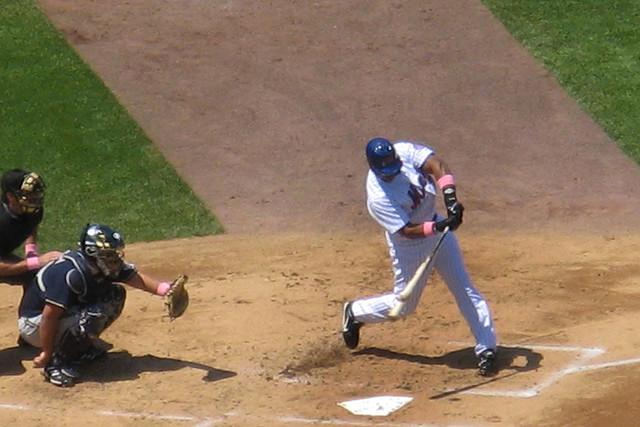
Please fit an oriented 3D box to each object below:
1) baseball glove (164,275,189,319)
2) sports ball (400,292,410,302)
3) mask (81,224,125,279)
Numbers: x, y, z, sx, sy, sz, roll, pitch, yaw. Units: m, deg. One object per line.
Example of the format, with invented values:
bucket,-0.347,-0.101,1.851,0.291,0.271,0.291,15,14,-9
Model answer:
baseball glove,-1.987,1.146,16.773,0.156,0.530,0.479,10,25,16
sports ball,1.161,1.142,16.548,0.140,0.109,0.135,-1,0,0
mask,-3.001,0.541,16.691,0.542,0.756,0.332,5,30,9
